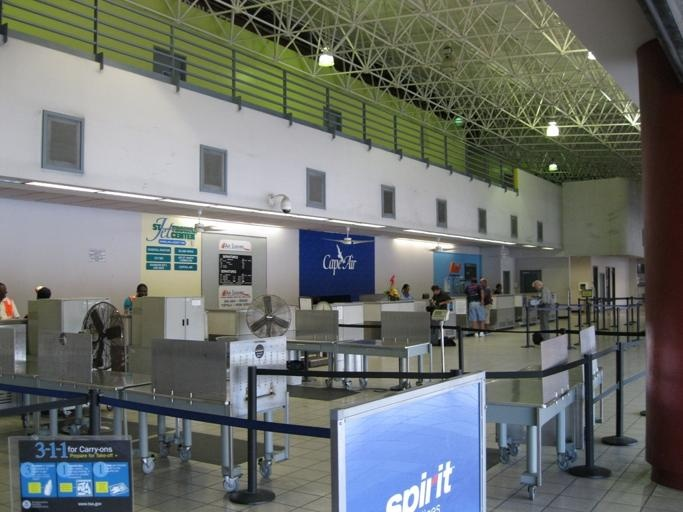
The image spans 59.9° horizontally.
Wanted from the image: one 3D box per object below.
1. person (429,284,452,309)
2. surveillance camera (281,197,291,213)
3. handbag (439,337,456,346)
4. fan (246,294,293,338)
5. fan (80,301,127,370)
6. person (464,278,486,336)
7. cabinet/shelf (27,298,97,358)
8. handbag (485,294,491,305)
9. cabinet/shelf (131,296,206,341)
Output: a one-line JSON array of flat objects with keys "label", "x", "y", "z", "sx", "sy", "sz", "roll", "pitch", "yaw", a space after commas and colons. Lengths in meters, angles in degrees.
[{"label": "person", "x": 2.757, "y": 1.182, "z": 16.569, "sx": 0.541, "sy": 1.059, "sz": 0.814, "roll": 0, "pitch": -1, "yaw": 0}, {"label": "surveillance camera", "x": -1.101, "y": -1.030, "z": 11.775, "sx": 0.187, "sy": 0.279, "sz": 0.183, "roll": -9, "pitch": 35, "yaw": -13}, {"label": "handbag", "x": 2.957, "y": 2.376, "z": 16.416, "sx": 0.331, "sy": 0.223, "sz": 0.243, "roll": 0, "pitch": -4, "yaw": 9}, {"label": "fan", "x": -0.934, "y": 0.812, "z": 7.829, "sx": 0.546, "sy": 0.589, "sz": 0.541, "roll": -12, "pitch": -8, "yaw": -14}, {"label": "fan", "x": -2.802, "y": 0.940, "z": 7.029, "sx": 0.326, "sy": 0.791, "sz": 0.544, "roll": 3, "pitch": -6, "yaw": -41}, {"label": "person", "x": 4.119, "y": 1.425, "z": 18.344, "sx": 0.535, "sy": 1.536, "sz": 0.701, "roll": -2, "pitch": -5, "yaw": 14}, {"label": "cabinet/shelf", "x": -3.613, "y": 0.947, "z": 7.732, "sx": 0.363, "sy": 0.787, "sz": 0.819, "roll": 0, "pitch": 0, "yaw": 13}, {"label": "handbag", "x": 4.589, "y": 1.355, "z": 18.752, "sx": 0.191, "sy": 0.316, "sz": 0.750, "roll": -3, "pitch": -5, "yaw": 17}, {"label": "cabinet/shelf", "x": -2.733, "y": 0.988, "z": 9.351, "sx": 0.686, "sy": 0.688, "sz": 0.381, "roll": 2, "pitch": -1, "yaw": -34}]
